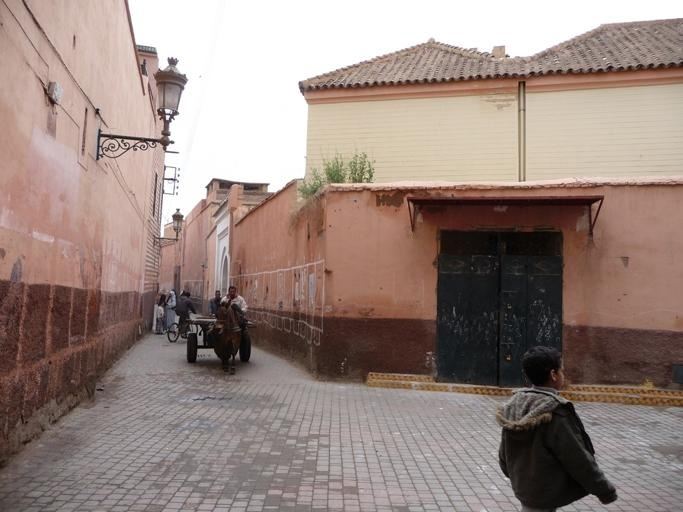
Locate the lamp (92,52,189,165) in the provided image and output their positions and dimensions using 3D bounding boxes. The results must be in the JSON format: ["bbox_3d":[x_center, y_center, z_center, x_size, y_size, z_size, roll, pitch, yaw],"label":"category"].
[{"bbox_3d":[-3.798,-2.878,10.003,1.609,2.012,0.716,3,5,-8],"label":"lamp"}]

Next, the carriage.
[{"bbox_3d":[-3.271,2.153,14.416,1.658,1.921,3.077,2,-6,-22],"label":"carriage"}]
